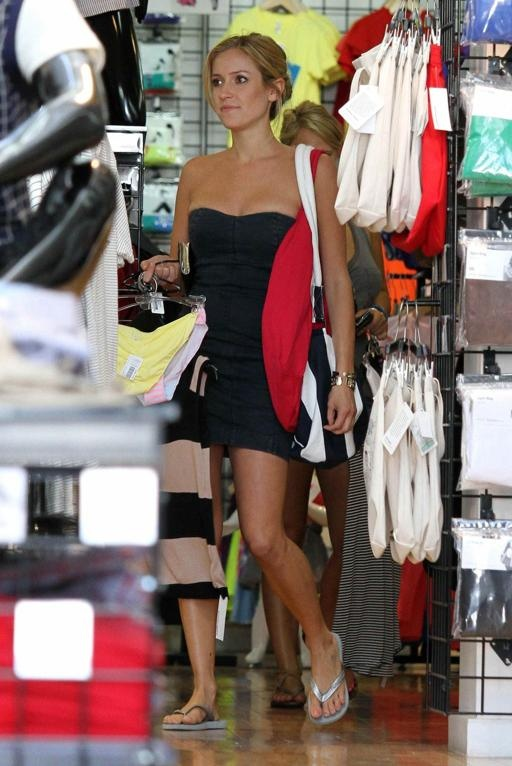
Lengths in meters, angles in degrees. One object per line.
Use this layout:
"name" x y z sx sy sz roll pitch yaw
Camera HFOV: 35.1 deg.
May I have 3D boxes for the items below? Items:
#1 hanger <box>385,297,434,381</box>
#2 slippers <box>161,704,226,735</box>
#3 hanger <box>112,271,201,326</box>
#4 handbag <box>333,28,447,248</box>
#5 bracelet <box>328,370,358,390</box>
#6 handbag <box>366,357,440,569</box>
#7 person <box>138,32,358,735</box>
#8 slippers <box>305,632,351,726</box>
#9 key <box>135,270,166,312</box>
"hanger" 0.426 -0.114 2.208 0.127 0.219 0.253 0 9 -3
"slippers" -0.148 0.827 1.978 0.131 0.053 0.068 9 -14 -32
"hanger" -0.307 -0.224 2.385 0.184 0.111 0.264 0 1 2
"handbag" 0.343 -0.600 2.050 0.275 0.547 0.236 0 -12 5
"bracelet" 0.232 0.004 2.143 0.062 0.041 0.065 -1 -8 42
"handbag" 0.362 0.170 1.969 0.191 0.517 0.197 0 -12 7
"person" -0.001 -0.055 2.185 0.566 1.838 0.330 1 -12 3
"slippers" 0.191 0.799 2.148 0.105 0.065 0.309 -7 8 6
"key" -0.299 -0.249 2.228 0.062 0.111 0.047 -3 16 2
